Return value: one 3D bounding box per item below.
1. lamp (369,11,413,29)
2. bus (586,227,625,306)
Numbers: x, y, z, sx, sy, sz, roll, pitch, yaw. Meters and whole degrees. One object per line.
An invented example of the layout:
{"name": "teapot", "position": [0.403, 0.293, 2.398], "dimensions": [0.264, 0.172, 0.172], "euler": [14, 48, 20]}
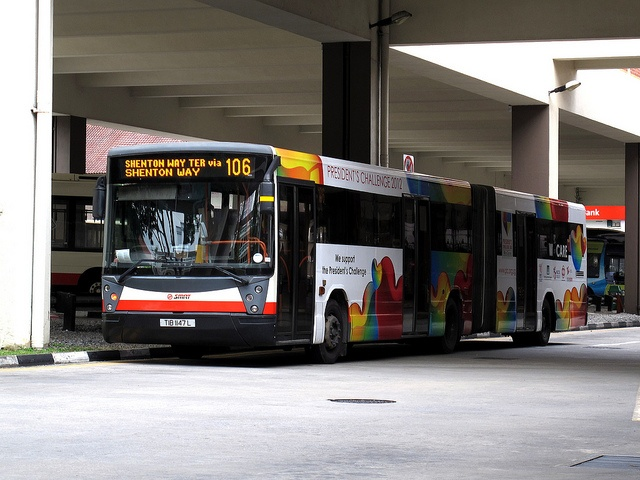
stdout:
{"name": "lamp", "position": [2.090, -6.628, 23.716], "dimensions": [0.571, 0.449, 1.518], "euler": [3, -6, -31]}
{"name": "bus", "position": [20.628, 1.715, 57.188], "dimensions": [2.476, 5.568, 3.795], "euler": [-2, -5, 29]}
